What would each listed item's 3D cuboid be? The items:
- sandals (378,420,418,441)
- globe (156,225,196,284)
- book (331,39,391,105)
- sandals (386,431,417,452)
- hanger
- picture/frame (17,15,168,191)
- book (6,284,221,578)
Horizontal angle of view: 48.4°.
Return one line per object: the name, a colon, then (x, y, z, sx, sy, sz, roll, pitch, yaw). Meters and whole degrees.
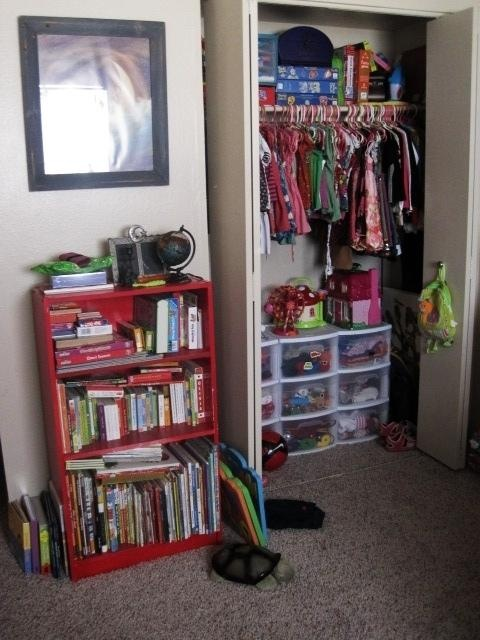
sandals: (0.920, 0.645, 3.130, 0.173, 0.055, 0.102, -2, -12, -15)
globe: (-0.243, -0.257, 2.088, 0.133, 0.194, 0.136, 9, 16, 13)
book: (0.680, -1.344, 2.967, 0.424, 0.324, 0.147, -8, 11, -37)
sandals: (0.906, 0.681, 3.017, 0.122, 0.047, 0.094, 0, 10, 37)
hanger: (0.524, -1.091, 2.855, 0.999, 0.213, 0.210, -5, 10, -21)
picture/frame: (-0.575, -0.840, 2.020, 0.678, 0.687, 0.049, -8, 22, -26)
book: (-0.490, 0.398, 2.072, 0.782, 1.074, 0.368, -5, 10, -24)
